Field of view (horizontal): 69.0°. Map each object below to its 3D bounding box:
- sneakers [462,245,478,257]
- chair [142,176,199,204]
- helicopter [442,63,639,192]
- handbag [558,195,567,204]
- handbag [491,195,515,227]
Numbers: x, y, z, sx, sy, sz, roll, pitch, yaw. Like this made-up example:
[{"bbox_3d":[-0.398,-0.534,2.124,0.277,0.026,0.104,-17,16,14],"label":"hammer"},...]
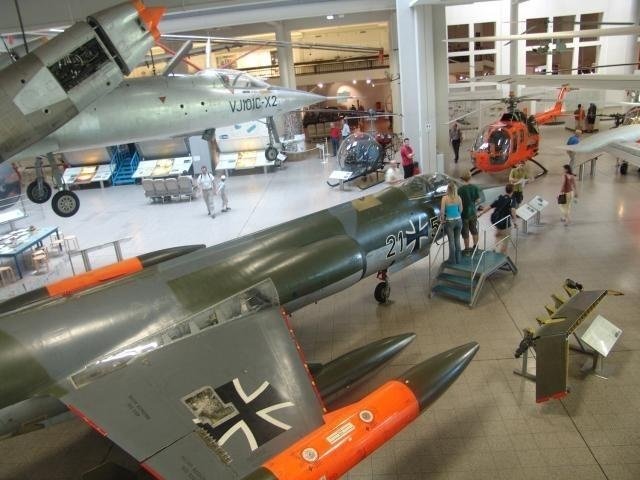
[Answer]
[{"bbox_3d":[3.723,0.283,11.521,0.194,0.200,0.458,-3,18,7],"label":"sneakers"},{"bbox_3d":[-6.060,-2.020,19.268,2.253,1.137,1.205,-1,26,1],"label":"chair"},{"bbox_3d":[5.896,-3.836,14.858,4.618,1.873,5.362,25,43,38],"label":"helicopter"},{"bbox_3d":[7.133,-1.191,13.642,0.293,0.266,0.075,2,2,25],"label":"handbag"},{"bbox_3d":[4.767,-0.698,12.142,0.551,0.941,0.542,0,24,20],"label":"handbag"}]
